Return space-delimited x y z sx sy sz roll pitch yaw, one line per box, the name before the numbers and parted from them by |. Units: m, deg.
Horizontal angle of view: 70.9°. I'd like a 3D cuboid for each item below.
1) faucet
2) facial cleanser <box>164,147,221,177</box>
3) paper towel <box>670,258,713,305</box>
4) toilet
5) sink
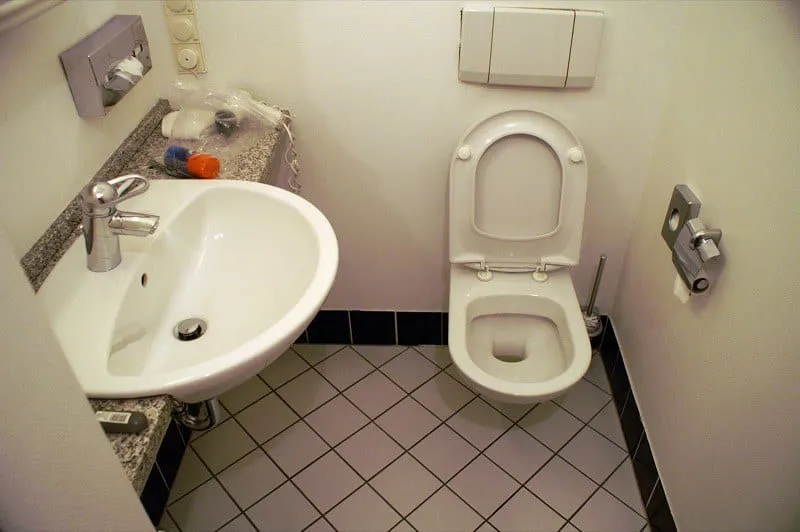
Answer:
faucet | -0.665 -0.095 1.324 0.155 0.223 0.083 2 27 -19
facial cleanser | -0.641 -0.317 1.769 0.151 0.091 0.060 22 6 11
paper towel | 0.869 0.050 1.706 0.042 0.115 0.116 -13 29 20
toilet | 0.424 0.269 2.036 0.474 0.342 0.526 -3 30 8
sink | -0.502 0.080 1.444 0.632 0.209 0.766 3 40 -5
